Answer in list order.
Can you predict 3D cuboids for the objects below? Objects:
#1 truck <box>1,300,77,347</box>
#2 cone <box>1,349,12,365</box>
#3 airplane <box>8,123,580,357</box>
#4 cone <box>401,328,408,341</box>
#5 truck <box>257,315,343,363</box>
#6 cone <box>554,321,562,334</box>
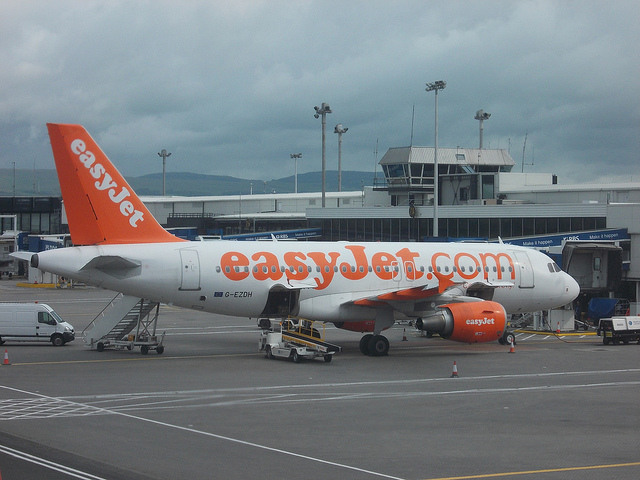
[{"bbox_3d":[-14.245,4.125,43.943,4.057,1.607,1.761,-1,2,-5],"label":"truck"},{"bbox_3d":[-13.043,4.878,36.353,0.508,0.467,0.490,5,6,23],"label":"cone"},{"bbox_3d":[0.827,0.297,42.110,27.619,8.383,22.085,2,10,-24],"label":"airplane"},{"bbox_3d":[4.522,5.064,46.420,0.425,0.604,0.385,-2,4,-7],"label":"cone"},{"bbox_3d":[-1.340,4.455,39.594,1.745,1.375,4.359,1,-2,-38],"label":"truck"},{"bbox_3d":[13.621,5.070,50.041,0.491,0.567,0.481,-2,5,-44],"label":"cone"}]
